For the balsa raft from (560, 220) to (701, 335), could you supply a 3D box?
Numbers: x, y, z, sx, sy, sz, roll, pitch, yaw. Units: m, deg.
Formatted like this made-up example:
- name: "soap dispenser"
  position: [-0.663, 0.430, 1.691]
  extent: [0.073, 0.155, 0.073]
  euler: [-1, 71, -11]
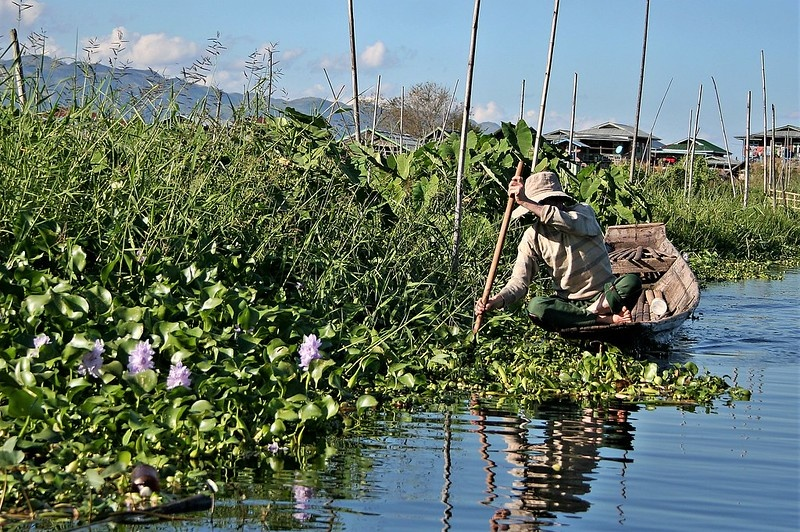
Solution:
- name: "balsa raft"
  position: [2.719, 0.230, 8.845]
  extent: [0.939, 0.412, 2.329]
  euler: [1, 28, 17]

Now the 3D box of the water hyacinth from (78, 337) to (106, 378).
- name: "water hyacinth"
  position: [-1.900, 0.571, 4.927]
  extent: [0.151, 0.224, 0.098]
  euler: [0, 15, -9]

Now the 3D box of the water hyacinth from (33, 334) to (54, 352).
- name: "water hyacinth"
  position: [-2.209, 0.480, 4.962]
  extent: [0.101, 0.054, 0.102]
  euler: [2, 6, 9]

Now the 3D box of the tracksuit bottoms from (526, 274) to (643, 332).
- name: "tracksuit bottoms"
  position: [1.592, 0.311, 6.952]
  extent: [0.862, 0.525, 0.500]
  euler: [-6, 17, -31]

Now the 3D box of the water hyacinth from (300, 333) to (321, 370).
- name: "water hyacinth"
  position: [-0.622, 0.579, 5.517]
  extent: [0.144, 0.241, 0.244]
  euler: [0, 15, -7]

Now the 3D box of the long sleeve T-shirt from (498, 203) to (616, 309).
- name: "long sleeve T-shirt"
  position: [1.360, -0.163, 7.299]
  extent: [1.171, 1.035, 0.941]
  euler: [-11, -8, 15]

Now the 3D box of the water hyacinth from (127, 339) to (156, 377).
- name: "water hyacinth"
  position: [-1.627, 0.563, 5.010]
  extent: [0.147, 0.190, 0.196]
  euler: [-4, 16, -24]

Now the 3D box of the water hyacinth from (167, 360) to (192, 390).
- name: "water hyacinth"
  position: [-1.388, 0.685, 5.010]
  extent: [0.162, 0.155, 0.102]
  euler: [26, -3, 34]

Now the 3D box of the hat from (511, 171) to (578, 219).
- name: "hat"
  position: [1.309, -0.746, 7.174]
  extent: [0.354, 0.208, 0.397]
  euler: [-21, 11, -20]

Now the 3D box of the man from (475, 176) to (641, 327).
- name: "man"
  position: [1.289, -0.119, 7.116]
  extent: [1.417, 1.347, 0.986]
  euler: [-11, 2, 3]
